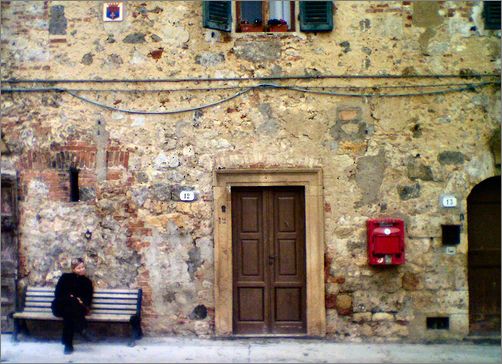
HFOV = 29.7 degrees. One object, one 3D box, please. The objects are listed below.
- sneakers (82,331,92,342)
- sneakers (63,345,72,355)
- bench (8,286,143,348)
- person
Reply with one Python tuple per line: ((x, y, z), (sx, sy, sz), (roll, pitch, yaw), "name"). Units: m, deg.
((-2.696, 2.547, 15.559), (0.174, 0.198, 0.487), (2, -8, -8), "sneakers")
((-2.940, 2.744, 15.448), (0.108, 0.134, 0.228), (-3, -9, 24), "sneakers")
((-2.890, 2.208, 15.777), (2.126, 0.751, 0.641), (0, 10, 9), "bench")
((-2.933, 2.050, 15.607), (0.665, 1.553, 0.517), (2, -8, -9), "person")
